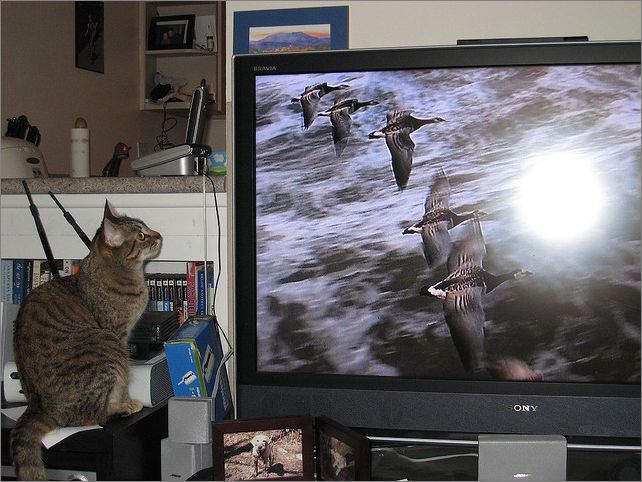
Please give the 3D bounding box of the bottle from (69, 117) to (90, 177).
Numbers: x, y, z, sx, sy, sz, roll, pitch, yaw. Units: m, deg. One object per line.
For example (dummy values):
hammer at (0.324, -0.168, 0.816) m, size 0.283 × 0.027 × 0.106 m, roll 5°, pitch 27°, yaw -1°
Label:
bottle at (-0.849, -0.316, 2.479) m, size 0.063 × 0.174 × 0.049 m, roll -2°, pitch 3°, yaw -22°

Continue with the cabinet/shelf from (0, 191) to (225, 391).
cabinet/shelf at (-0.609, 0.144, 2.098) m, size 0.588 × 0.552 × 0.206 m, roll -1°, pitch 3°, yaw 5°

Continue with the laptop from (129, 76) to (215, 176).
laptop at (-0.426, -0.346, 2.297) m, size 0.317 × 0.397 × 0.230 m, roll 2°, pitch 2°, yaw 9°
